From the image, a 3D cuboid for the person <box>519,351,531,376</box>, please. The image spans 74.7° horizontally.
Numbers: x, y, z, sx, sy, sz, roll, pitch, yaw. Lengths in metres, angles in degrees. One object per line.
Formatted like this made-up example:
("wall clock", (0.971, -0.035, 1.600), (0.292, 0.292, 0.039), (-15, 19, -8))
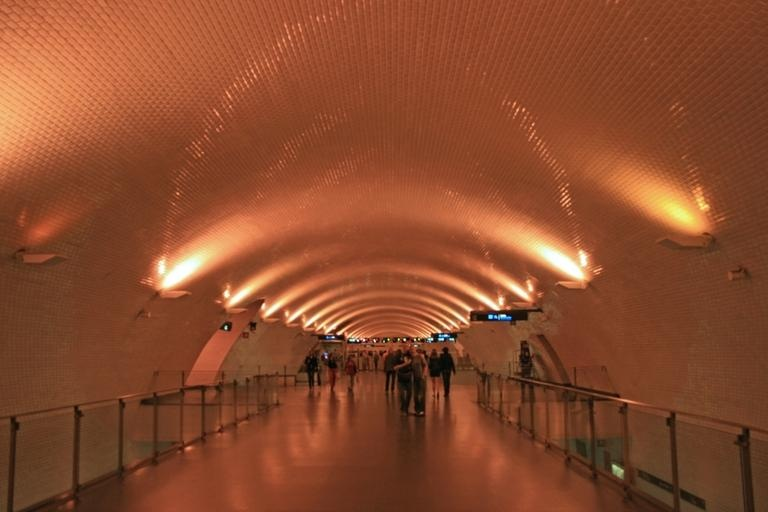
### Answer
("person", (5.926, 4.533, 20.890), (0.570, 0.840, 1.195), (10, 15, 14))
